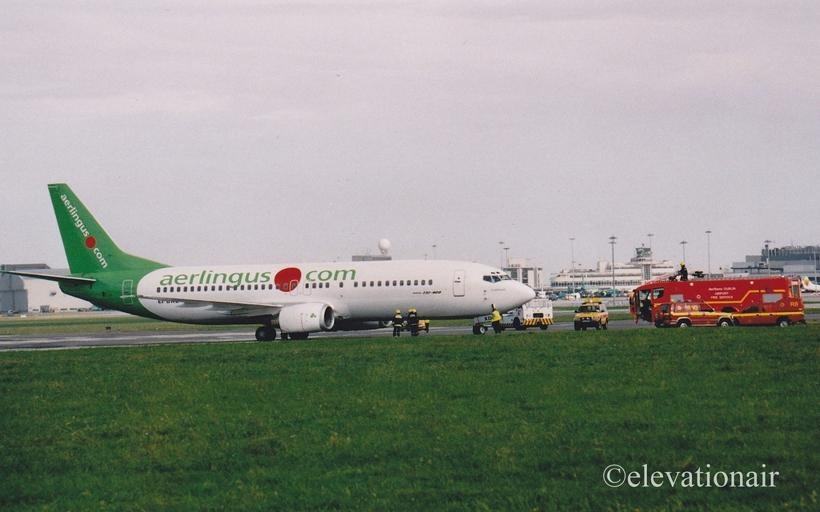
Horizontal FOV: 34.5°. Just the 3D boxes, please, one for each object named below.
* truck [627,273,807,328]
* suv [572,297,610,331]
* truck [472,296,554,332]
[{"bbox_3d":[19.772,2.703,76.144,10.633,2.949,3.599,-1,-2,9],"label":"truck"},{"bbox_3d":[10.673,3.554,77.838,1.486,1.230,2.829,-2,-4,15],"label":"suv"},{"bbox_3d":[6.440,3.624,79.929,3.856,1.504,2.380,-3,-2,30],"label":"truck"}]
